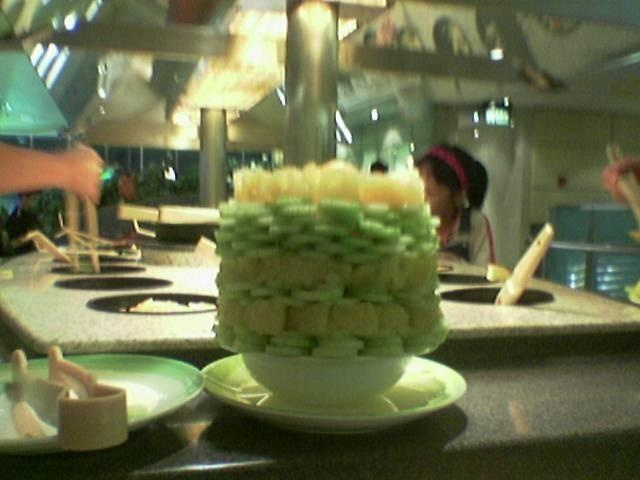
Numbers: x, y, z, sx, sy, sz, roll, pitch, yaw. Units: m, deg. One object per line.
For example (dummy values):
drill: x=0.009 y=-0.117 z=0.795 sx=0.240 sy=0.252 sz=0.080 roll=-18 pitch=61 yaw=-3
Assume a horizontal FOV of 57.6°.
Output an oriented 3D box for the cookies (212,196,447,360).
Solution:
cookies: x=0.007 y=0.042 z=0.659 sx=0.191 sy=0.122 sz=0.201 roll=0 pitch=-1 yaw=11

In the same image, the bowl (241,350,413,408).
bowl: x=0.006 y=0.170 z=0.736 sx=0.146 sy=0.051 sz=0.155 roll=2 pitch=-6 yaw=0

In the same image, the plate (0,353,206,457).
plate: x=-0.268 y=0.184 z=0.705 sx=0.242 sy=0.049 sz=0.175 roll=-3 pitch=13 yaw=-19
